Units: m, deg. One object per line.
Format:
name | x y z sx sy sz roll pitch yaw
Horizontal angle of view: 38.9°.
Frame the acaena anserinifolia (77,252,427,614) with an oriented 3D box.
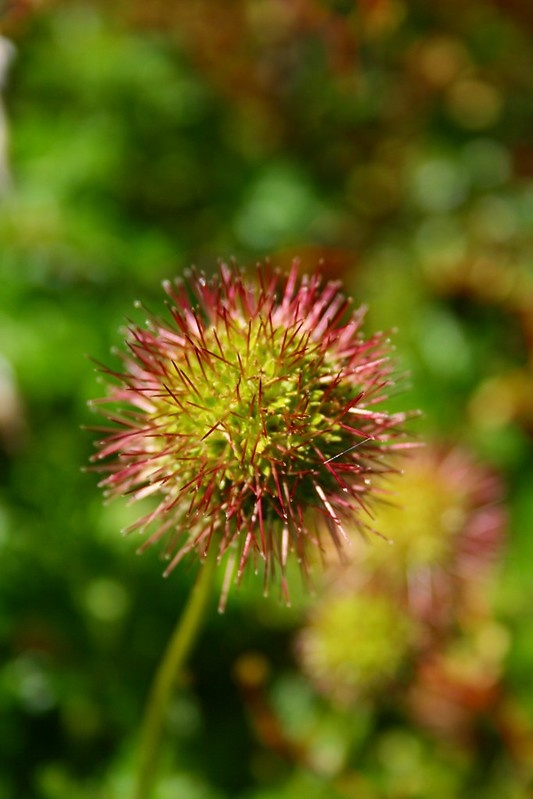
acaena anserinifolia | 0.020 0.104 1.987 0.692 0.583 0.613 5 83 3
